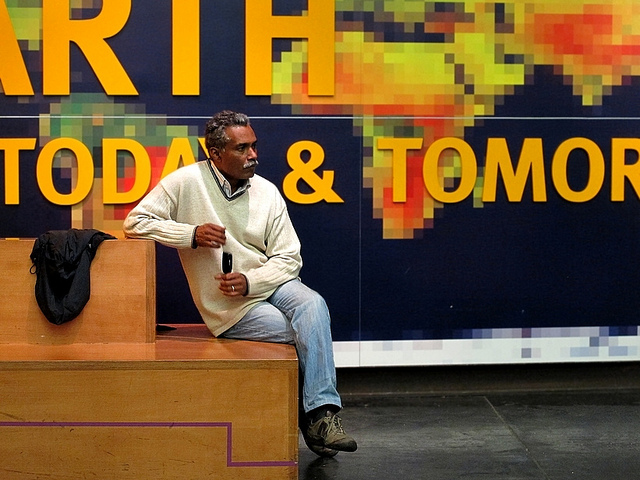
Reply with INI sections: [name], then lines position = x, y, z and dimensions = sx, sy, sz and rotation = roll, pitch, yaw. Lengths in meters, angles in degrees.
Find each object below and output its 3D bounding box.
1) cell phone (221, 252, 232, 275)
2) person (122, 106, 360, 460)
[cell phone]
position = -0.492, 0.119, 5.298
dimensions = 0.053, 0.104, 0.034
rotation = 0, -3, 0
[person]
position = -0.406, 0.242, 5.296
dimensions = 1.183, 1.857, 0.565
rotation = 0, 4, 4
